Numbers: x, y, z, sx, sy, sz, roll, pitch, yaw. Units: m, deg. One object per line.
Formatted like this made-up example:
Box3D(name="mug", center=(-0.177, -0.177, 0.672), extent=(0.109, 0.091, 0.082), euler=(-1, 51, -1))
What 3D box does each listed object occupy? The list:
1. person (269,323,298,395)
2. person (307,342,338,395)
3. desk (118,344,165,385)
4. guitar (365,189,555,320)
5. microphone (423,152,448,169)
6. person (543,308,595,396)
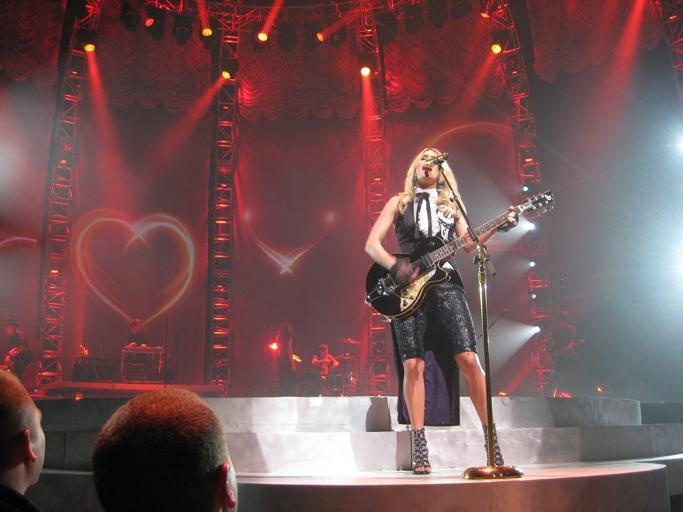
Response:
Box3D(name="person", center=(-0.950, 1.578, 9.758), extent=(0.517, 1.174, 1.360), euler=(1, -11, -4))
Box3D(name="person", center=(-0.271, 1.986, 10.277), extent=(0.376, 0.987, 0.311), euler=(-3, 12, 3))
Box3D(name="desk", center=(-3.117, 1.693, 9.609), extent=(0.610, 0.594, 0.602), euler=(4, -13, -20))
Box3D(name="guitar", center=(0.832, 0.037, 5.009), extent=(1.313, 0.922, 0.328), euler=(-5, -12, 25))
Box3D(name="microphone", center=(0.735, -0.786, 4.894), extent=(0.138, 0.084, 0.216), euler=(-5, -6, 10))
Box3D(name="person", center=(3.440, 1.449, 9.548), extent=(0.191, 1.363, 0.750), euler=(10, -14, -42))
